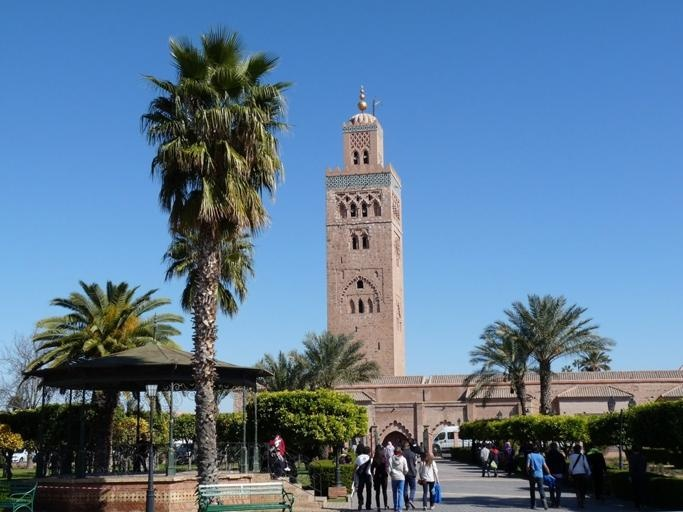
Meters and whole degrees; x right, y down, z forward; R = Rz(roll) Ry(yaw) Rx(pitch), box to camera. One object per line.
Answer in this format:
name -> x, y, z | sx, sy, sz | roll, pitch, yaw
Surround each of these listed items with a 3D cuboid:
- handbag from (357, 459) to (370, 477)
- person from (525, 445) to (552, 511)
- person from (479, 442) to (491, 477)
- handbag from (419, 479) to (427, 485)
handbag -> 0.652, 6.012, 21.320 | 0.276, 0.387, 0.419 | 13, -29, 4
person -> 5.800, 6.541, 21.981 | 0.623, 1.598, 2.161 | -5, -16, 14
person -> 6.718, 9.501, 34.868 | 0.413, 1.354, 1.797 | -4, -16, 9
handbag -> 2.299, 6.361, 21.203 | 0.122, 0.186, 0.184 | -5, -15, 17
